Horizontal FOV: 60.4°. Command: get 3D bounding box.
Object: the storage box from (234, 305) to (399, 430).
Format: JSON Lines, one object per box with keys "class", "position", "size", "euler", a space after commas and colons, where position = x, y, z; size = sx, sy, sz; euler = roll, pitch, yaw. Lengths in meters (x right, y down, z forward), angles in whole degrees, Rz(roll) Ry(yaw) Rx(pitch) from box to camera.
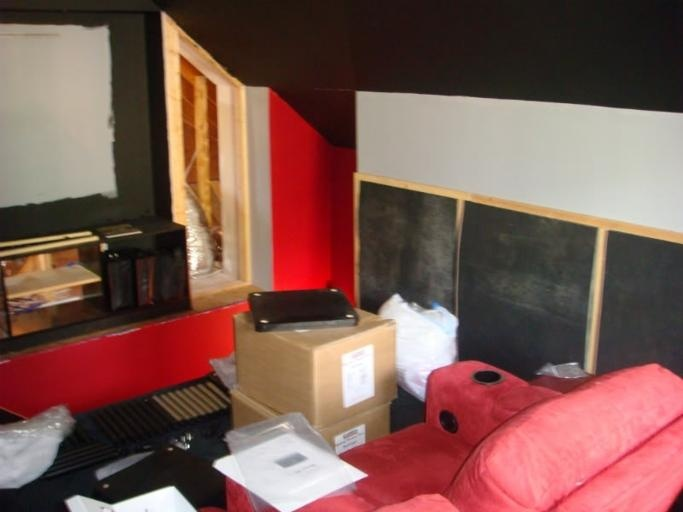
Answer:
{"class": "storage box", "position": [-0.054, 0.352, 2.078], "size": [0.418, 0.262, 0.415], "euler": [-12, 20, -39]}
